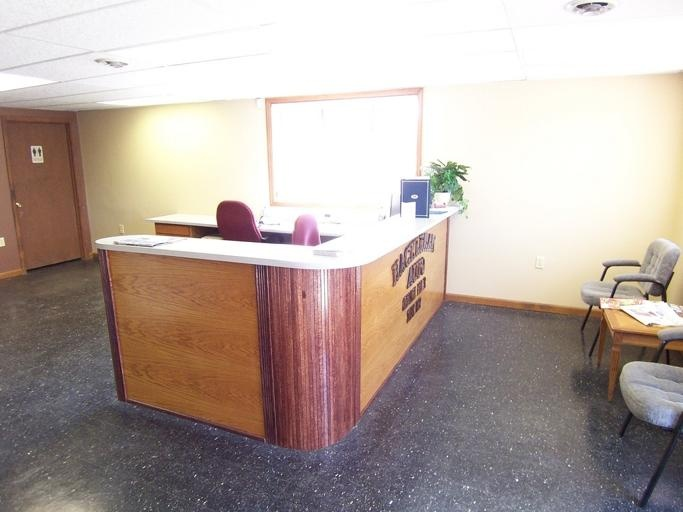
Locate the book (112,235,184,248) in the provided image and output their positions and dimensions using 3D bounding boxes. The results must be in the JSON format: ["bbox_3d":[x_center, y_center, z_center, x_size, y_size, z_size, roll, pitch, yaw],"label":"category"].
[{"bbox_3d":[-1.362,-0.096,3.376,0.505,0.028,0.309,5,14,23],"label":"book"}]

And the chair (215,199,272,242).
[{"bbox_3d":[-0.939,-0.359,4.749,0.416,0.537,0.443,6,18,18],"label":"chair"}]

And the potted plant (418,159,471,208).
[{"bbox_3d":[1.076,-0.756,5.152,0.556,0.509,0.537,1,12,10],"label":"potted plant"}]

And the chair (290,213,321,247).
[{"bbox_3d":[-0.306,-0.201,4.136,0.166,0.287,0.339,1,14,7],"label":"chair"}]
